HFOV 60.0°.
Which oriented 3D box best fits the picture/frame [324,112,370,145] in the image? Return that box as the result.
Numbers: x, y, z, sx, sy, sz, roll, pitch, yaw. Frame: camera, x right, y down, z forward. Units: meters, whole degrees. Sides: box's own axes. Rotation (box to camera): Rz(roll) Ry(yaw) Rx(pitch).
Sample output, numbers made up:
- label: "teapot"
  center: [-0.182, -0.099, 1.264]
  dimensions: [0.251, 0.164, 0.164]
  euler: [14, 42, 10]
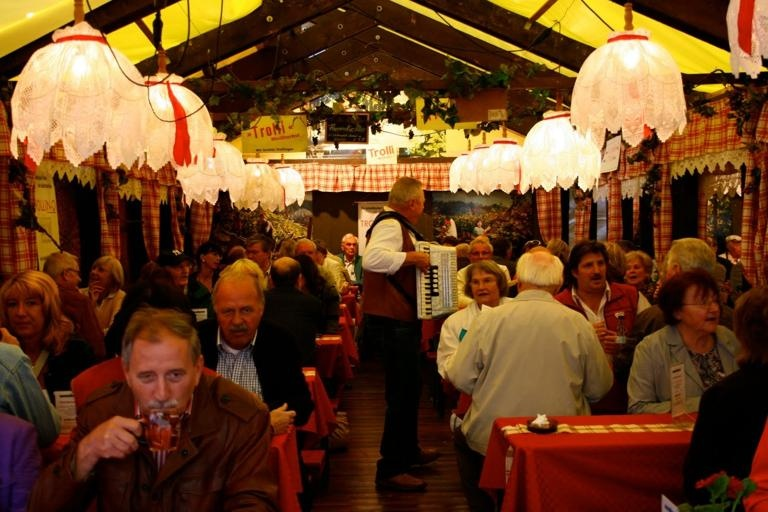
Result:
- label: "picture/frame"
  center: [-0.514, -1.748, 9.123]
  dimensions: [0.579, 0.351, 0.836]
  euler: [-2, 5, -4]

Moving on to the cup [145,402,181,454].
- label: "cup"
  center: [-1.029, 0.785, 3.055]
  dimensions: [0.182, 0.179, 0.135]
  euler: [-2, 5, -7]

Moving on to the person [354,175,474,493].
- label: "person"
  center: [0.124, 0.675, 6.098]
  dimensions: [0.613, 2.787, 0.573]
  euler: [-1, 5, 0]

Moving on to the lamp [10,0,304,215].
- label: "lamp"
  center: [-1.997, -1.452, 6.138]
  dimensions: [1.140, 1.935, 3.804]
  euler: [-2, 5, -3]

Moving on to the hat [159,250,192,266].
- label: "hat"
  center: [-2.443, 0.030, 7.694]
  dimensions: [0.257, 0.105, 0.194]
  euler: [-2, 2, -8]

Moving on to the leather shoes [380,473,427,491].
- label: "leather shoes"
  center: [0.161, 2.032, 6.045]
  dimensions: [0.435, 0.162, 0.161]
  euler: [-3, -6, 12]
